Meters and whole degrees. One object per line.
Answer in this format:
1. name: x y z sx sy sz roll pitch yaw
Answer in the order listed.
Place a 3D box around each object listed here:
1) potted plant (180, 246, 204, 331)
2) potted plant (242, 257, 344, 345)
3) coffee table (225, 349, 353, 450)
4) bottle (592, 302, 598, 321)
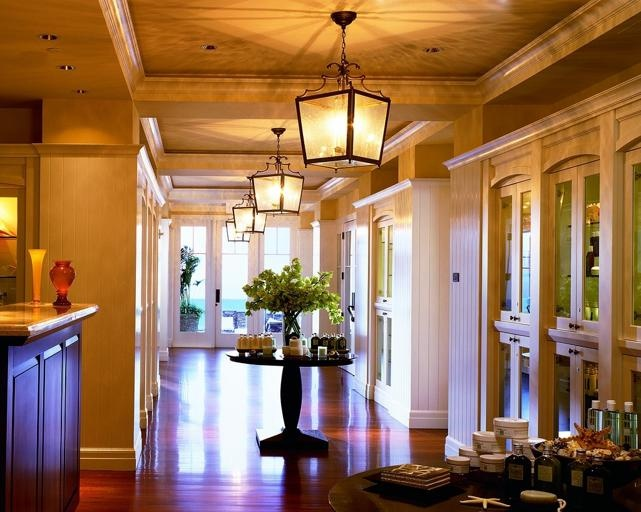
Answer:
1. potted plant: -3.049 0.739 13.534 0.626 2.004 0.295 4 -8 -9
2. potted plant: -0.338 0.472 6.245 0.879 0.775 0.771 8 18 29
3. coffee table: -0.268 1.525 5.993 1.075 0.694 1.054 1 1 -14
4. bottle: 1.771 0.350 3.660 0.025 0.104 0.127 0 -8 20
